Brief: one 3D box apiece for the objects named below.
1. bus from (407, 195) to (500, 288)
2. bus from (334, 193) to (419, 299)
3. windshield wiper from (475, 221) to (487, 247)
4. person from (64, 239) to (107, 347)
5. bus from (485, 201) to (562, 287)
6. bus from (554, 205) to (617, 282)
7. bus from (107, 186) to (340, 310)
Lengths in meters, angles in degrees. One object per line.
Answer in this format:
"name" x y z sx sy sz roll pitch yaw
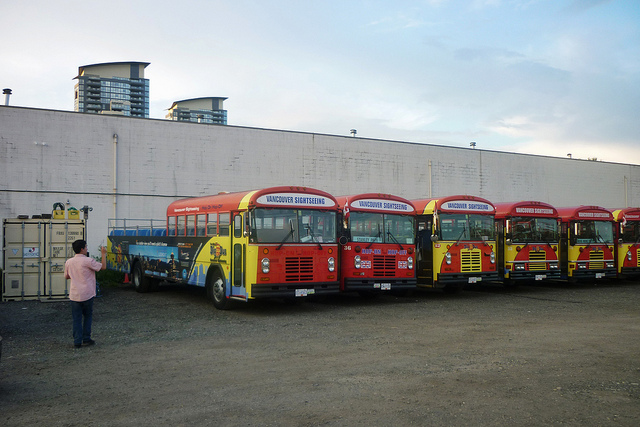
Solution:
"bus" 4.654 1.166 25.943 2.914 3.352 5.329 0 -1 -18
"bus" 1.364 1.277 24.828 2.635 3.601 6.645 2 -2 -10
"windshield wiper" 5.924 0.790 23.765 0.066 0.932 0.070 -15 -2 -2
"person" -5.892 1.965 16.046 0.878 2.562 0.888 0 -1 -22
"bus" 8.851 1.467 28.238 2.349 3.271 6.382 0 -5 6
"bus" 11.646 1.330 29.622 2.131 3.236 5.964 -1 0 5
"bus" -4.144 1.188 24.107 3.409 4.053 11.231 1 0 -39
